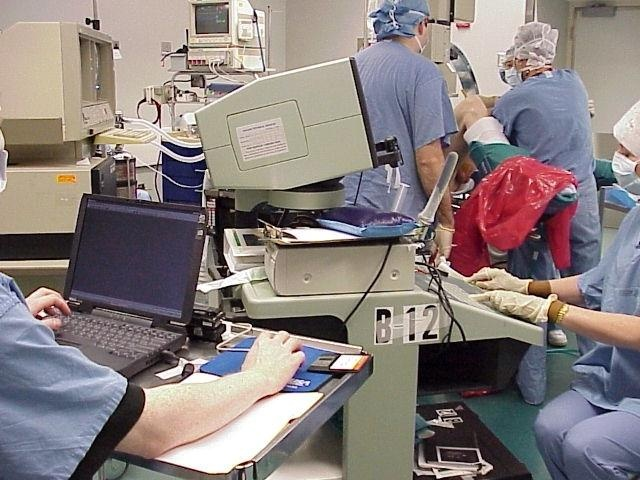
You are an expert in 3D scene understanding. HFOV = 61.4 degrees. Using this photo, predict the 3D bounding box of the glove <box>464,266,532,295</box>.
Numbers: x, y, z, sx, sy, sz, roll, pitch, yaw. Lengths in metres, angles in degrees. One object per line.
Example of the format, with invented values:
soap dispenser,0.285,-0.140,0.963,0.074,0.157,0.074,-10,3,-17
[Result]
glove,0.653,0.138,1.965,0.166,0.058,0.109,0,3,32

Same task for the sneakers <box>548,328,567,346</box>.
sneakers,1.504,0.614,3.409,0.074,0.053,0.132,-4,8,2

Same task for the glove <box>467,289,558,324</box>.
glove,0.635,0.195,1.723,0.186,0.060,0.124,0,8,11

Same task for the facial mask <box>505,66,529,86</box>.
facial mask,1.164,-0.974,3.203,0.128,0.078,0.104,-10,26,-24

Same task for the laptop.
laptop,-0.494,0.077,1.508,0.462,0.389,0.420,16,25,17
